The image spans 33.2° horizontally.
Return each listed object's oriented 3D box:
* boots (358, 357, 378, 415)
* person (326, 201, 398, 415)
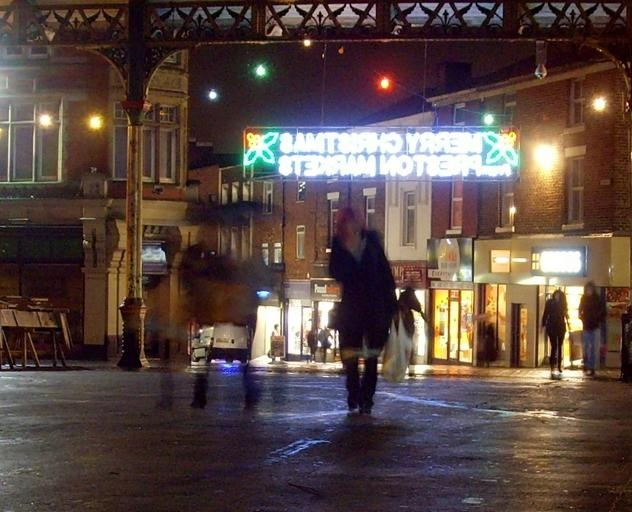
[{"bbox_3d":[0.580,1.445,11.899,0.190,0.620,0.488,0,-3,3],"label":"boots"},{"bbox_3d":[0.518,0.591,11.788,0.750,2.304,0.481,1,-3,-3],"label":"person"}]
